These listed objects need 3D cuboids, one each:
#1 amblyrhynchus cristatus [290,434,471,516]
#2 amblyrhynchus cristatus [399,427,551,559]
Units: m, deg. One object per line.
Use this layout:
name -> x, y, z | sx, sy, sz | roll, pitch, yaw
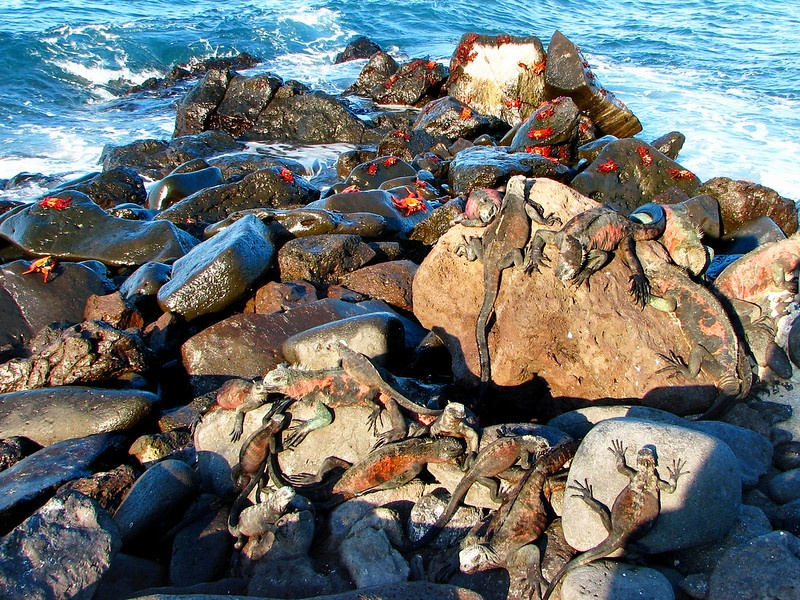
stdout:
amblyrhynchus cristatus -> -0.253, 1.826, 7.871 | 1.912, 0.552, 0.687 | -11, 51, 7
amblyrhynchus cristatus -> 0.742, 1.876, 7.645 | 1.876, 0.533, 0.516 | -32, 30, -17
